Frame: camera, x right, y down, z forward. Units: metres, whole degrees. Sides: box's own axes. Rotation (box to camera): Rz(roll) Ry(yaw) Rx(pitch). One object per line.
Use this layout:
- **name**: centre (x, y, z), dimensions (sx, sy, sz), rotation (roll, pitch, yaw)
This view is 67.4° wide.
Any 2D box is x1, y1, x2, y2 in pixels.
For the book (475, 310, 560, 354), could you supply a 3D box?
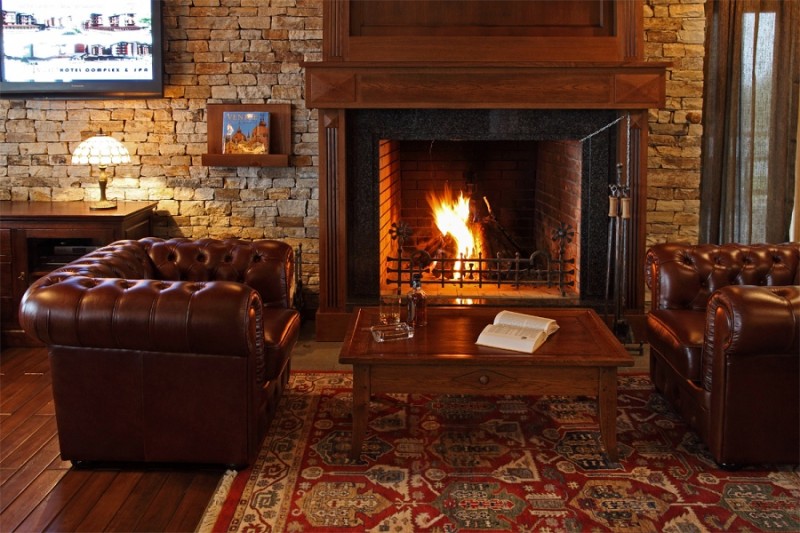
- **book**: centre (0.666, 0.377, 3.484), dimensions (0.283, 0.060, 0.361), rotation (6, 18, 30)

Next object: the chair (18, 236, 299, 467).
- **chair**: centre (-1.356, 0.436, 3.600), dimensions (1.751, 0.885, 1.827), rotation (0, 12, -6)

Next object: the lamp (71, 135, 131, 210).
- **lamp**: centre (-2.519, -0.822, 5.111), dimensions (0.421, 0.641, 0.610), rotation (-5, 12, -17)
